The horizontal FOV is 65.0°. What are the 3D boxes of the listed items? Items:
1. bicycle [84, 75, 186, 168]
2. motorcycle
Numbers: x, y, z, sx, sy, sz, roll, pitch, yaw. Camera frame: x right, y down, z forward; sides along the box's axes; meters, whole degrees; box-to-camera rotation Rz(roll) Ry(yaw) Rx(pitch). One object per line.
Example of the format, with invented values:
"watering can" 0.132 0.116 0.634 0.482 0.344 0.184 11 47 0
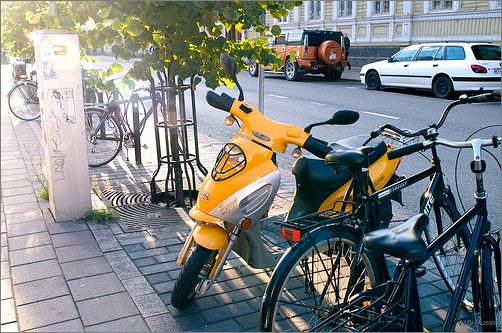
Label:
"bicycle" -2.015 -0.920 8.342 2.687 1.608 1.345 -3 15 -10
"motorcycle" 0.465 0.154 3.861 2.745 1.927 1.560 -12 26 -31
